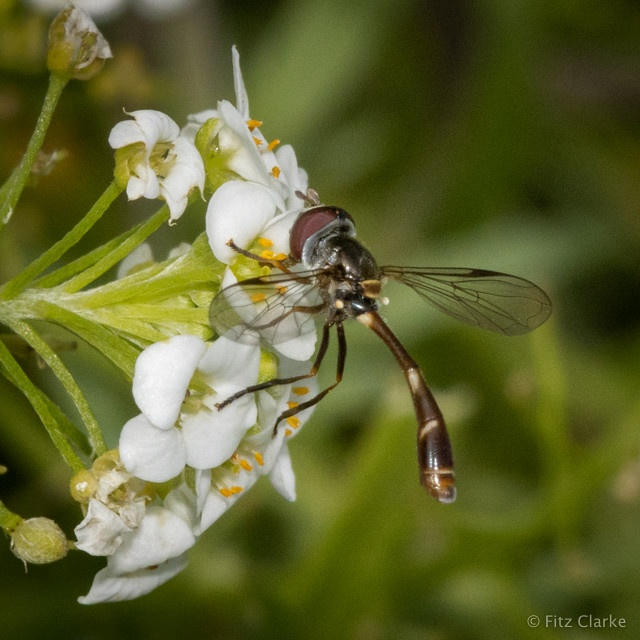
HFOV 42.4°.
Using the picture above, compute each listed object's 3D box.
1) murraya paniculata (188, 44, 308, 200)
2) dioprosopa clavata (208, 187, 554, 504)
[{"bbox_3d":[-0.090,-0.277,1.291,0.212,0.203,0.263,-130,-145,-52],"label":"murraya paniculata"},{"bbox_3d":[0.060,0.025,1.423,0.207,0.741,0.589,-34,-111,45],"label":"dioprosopa clavata"}]
